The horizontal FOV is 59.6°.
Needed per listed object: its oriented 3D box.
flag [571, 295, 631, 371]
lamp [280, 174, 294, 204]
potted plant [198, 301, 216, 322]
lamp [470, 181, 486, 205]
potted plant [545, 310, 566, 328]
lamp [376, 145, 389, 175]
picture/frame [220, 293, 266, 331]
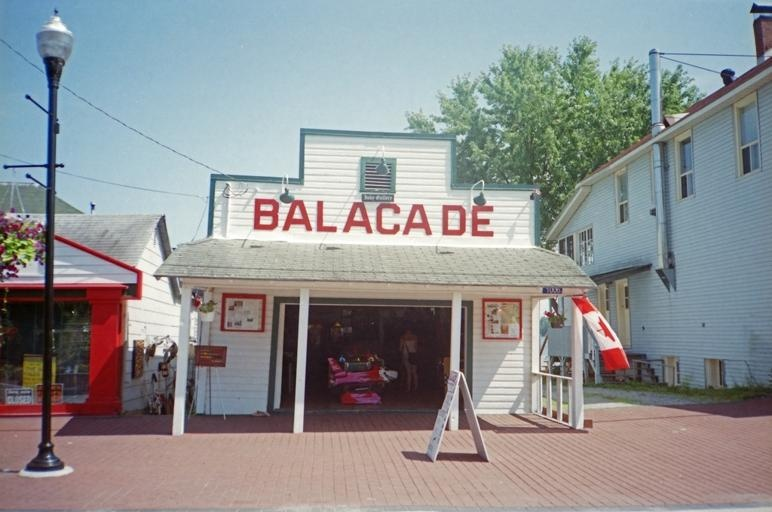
[{"bbox_3d":[5.862,2.105,18.231,1.436,1.955,0.432,3,6,41],"label":"flag"},{"bbox_3d":[-3.014,-2.000,20.490,0.447,0.792,0.421,0,4,-2],"label":"lamp"},{"bbox_3d":[-5.256,1.644,19.728,0.650,0.736,0.562,2,-7,-21],"label":"potted plant"},{"bbox_3d":[2.944,-1.960,21.066,0.424,0.769,0.594,0,4,9],"label":"lamp"},{"bbox_3d":[5.102,1.931,20.354,0.667,0.484,0.681,3,-7,20],"label":"potted plant"},{"bbox_3d":[-0.072,-3.000,20.960,0.315,0.933,0.328,1,5,18],"label":"lamp"},{"bbox_3d":[-4.332,1.701,20.060,1.120,0.935,0.082,1,-8,-8],"label":"picture/frame"}]
